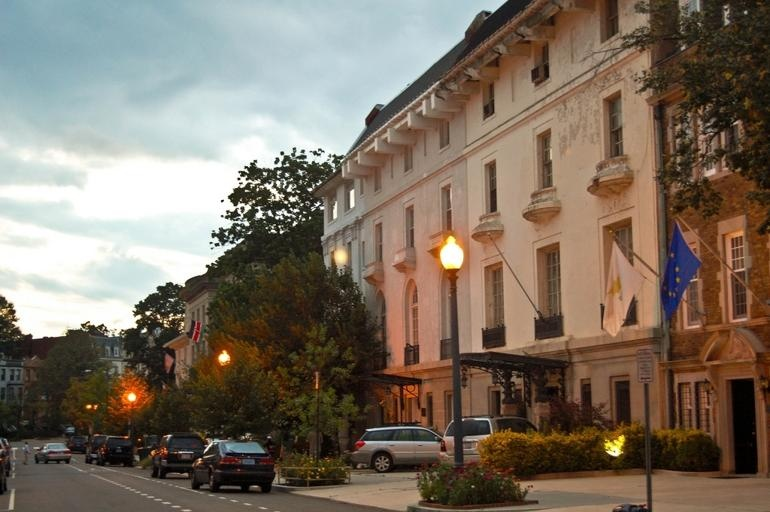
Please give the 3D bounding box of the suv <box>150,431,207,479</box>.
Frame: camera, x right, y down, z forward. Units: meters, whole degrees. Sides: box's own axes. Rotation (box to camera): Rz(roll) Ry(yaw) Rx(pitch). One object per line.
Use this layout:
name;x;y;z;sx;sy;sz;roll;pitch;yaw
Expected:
suv;-10.390;9.880;59.934;1.771;1.791;3.782;2;-5;-14

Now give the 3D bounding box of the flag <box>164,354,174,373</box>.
flag;-18.293;9.166;102.001;0.672;1.137;2.834;-13;8;-9

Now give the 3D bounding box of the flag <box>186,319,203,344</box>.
flag;-16.542;6.598;104.449;0.150;1.875;2.511;4;-12;-26

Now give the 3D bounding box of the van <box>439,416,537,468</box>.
van;4.368;7.683;49.102;3.691;1.912;2.164;0;-3;-43

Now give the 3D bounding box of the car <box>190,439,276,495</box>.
car;-6.423;8.759;49.634;3.639;2.510;1.875;-6;10;43

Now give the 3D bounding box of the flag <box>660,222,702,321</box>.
flag;10.926;0.594;44.576;1.347;3.514;0.949;0;0;-7
